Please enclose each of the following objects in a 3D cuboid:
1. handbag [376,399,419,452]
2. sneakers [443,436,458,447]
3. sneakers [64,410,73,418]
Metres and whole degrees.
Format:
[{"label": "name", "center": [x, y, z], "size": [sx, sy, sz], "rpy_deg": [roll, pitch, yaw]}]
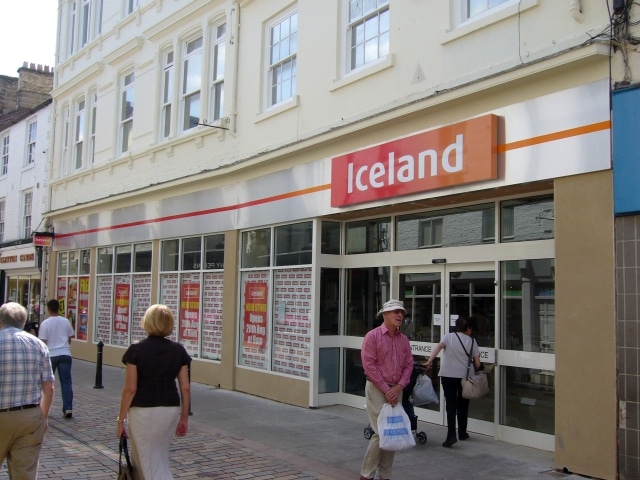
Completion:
[{"label": "handbag", "center": [0.877, 2.137, 7.237], "size": [0.411, 0.638, 0.203], "rpy_deg": [-3, -31, 4]}, {"label": "sneakers", "center": [1.891, 2.961, 9.182], "size": [0.216, 0.235, 0.109], "rpy_deg": [-6, -5, 5]}, {"label": "sneakers", "center": [-4.254, 2.960, 10.674], "size": [0.065, 0.088, 0.189], "rpy_deg": [2, -2, -14]}]
